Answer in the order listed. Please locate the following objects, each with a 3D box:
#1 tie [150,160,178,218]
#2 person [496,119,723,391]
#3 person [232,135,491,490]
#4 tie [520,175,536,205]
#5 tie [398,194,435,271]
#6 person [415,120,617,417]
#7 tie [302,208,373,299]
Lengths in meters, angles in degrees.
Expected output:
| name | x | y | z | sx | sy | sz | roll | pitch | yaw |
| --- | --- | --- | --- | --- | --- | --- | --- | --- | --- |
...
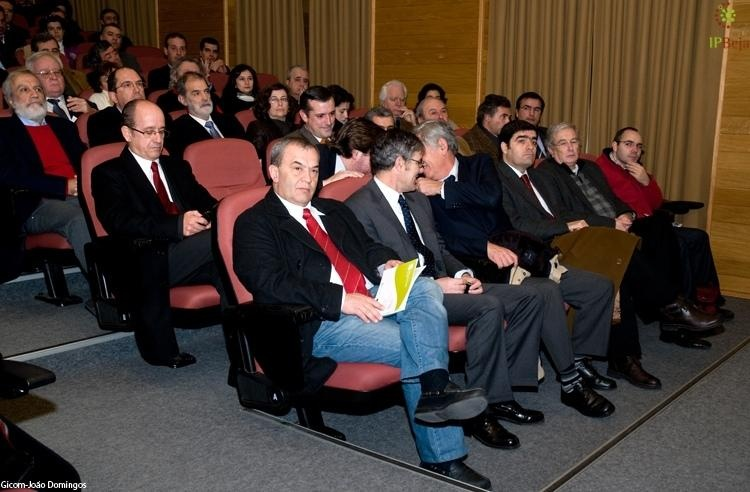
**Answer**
| name | x | y | z | sx | sy | sz | roll | pitch | yaw |
| --- | --- | --- | --- | --- | --- | --- | --- | --- | --- |
| tie | -1.289 | -0.325 | 3.359 | 0.125 | 0.410 | 0.044 | -15 | -11 | -19 |
| person | 1.813 | 0.248 | 3.819 | 0.909 | 1.130 | 0.617 | -9 | 4 | 31 |
| person | -0.079 | 0.276 | 2.499 | 0.775 | 1.326 | 1.209 | -18 | 30 | -35 |
| tie | 1.065 | -0.393 | 3.815 | 0.073 | 0.026 | 0.277 | 7 | 32 | -8 |
| tie | 0.217 | -0.058 | 2.975 | 0.070 | 0.414 | 0.107 | -23 | 5 | 39 |
| person | 1.015 | 0.090 | 3.307 | 0.898 | 1.600 | 0.606 | 5 | 18 | 2 |
| tie | -0.117 | 0.071 | 2.675 | 0.142 | 0.603 | 0.094 | 12 | 60 | 19 |
